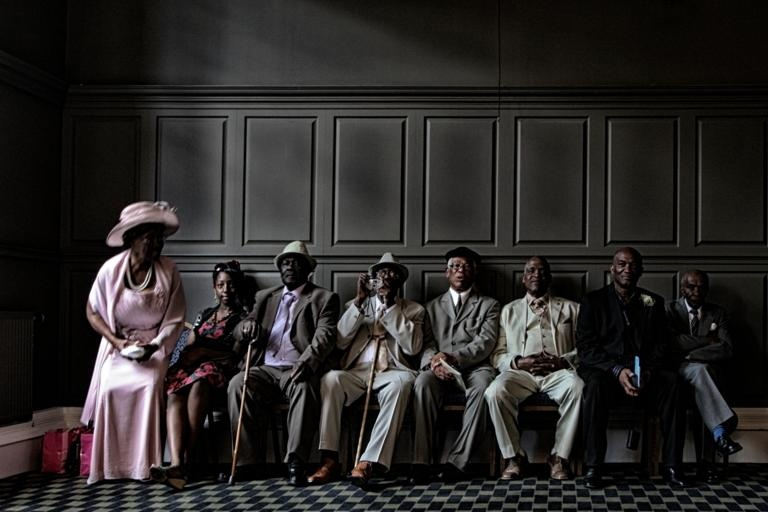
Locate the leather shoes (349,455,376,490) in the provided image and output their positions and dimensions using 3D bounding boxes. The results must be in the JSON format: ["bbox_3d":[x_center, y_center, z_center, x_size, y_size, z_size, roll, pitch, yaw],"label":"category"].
[{"bbox_3d":[-0.150,1.672,5.389,0.152,0.200,0.315,1,-2,26],"label":"leather shoes"}]

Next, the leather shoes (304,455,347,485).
[{"bbox_3d":[-0.450,1.660,5.461,0.312,0.219,0.112,3,-2,-36],"label":"leather shoes"}]

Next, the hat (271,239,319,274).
[{"bbox_3d":[-0.738,-0.030,6.116,0.344,0.156,0.423,-8,-20,31],"label":"hat"}]

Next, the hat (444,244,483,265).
[{"bbox_3d":[0.691,-0.015,6.037,0.204,0.074,0.186,16,-6,1],"label":"hat"}]

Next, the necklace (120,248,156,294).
[{"bbox_3d":[-2.006,0.126,5.658,0.240,0.320,0.079,1,-14,-12],"label":"necklace"}]

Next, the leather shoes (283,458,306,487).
[{"bbox_3d":[-0.678,1.659,5.275,0.100,0.112,0.266,1,-3,1],"label":"leather shoes"}]

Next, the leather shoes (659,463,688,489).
[{"bbox_3d":[2.219,1.678,5.340,0.210,0.150,0.167,0,-2,38],"label":"leather shoes"}]

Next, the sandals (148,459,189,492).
[{"bbox_3d":[-1.631,1.672,5.287,0.140,0.129,0.331,-34,-55,13],"label":"sandals"}]

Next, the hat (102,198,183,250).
[{"bbox_3d":[-2.029,-0.297,5.938,0.876,0.287,0.875,-3,7,-29],"label":"hat"}]

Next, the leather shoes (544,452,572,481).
[{"bbox_3d":[1.378,1.651,5.477,0.184,0.187,0.139,1,-2,16],"label":"leather shoes"}]

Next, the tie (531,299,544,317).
[{"bbox_3d":[1.307,0.429,5.862,0.123,0.121,0.037,-3,-11,-1],"label":"tie"}]

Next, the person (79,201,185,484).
[{"bbox_3d":[-2.008,0.655,5.608,0.754,2.235,0.503,2,-2,-20],"label":"person"}]

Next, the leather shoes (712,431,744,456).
[{"bbox_3d":[2.614,1.434,5.340,0.129,0.097,0.236,-15,-9,-12],"label":"leather shoes"}]

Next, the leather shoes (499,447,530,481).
[{"bbox_3d":[1.025,1.664,5.509,0.116,0.123,0.332,-4,-6,28],"label":"leather shoes"}]

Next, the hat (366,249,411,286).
[{"bbox_3d":[0.060,0.084,5.977,0.270,0.115,0.302,4,-39,6],"label":"hat"}]

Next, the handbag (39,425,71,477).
[{"bbox_3d":[-2.716,1.602,5.738,0.374,0.342,0.125,0,-2,28],"label":"handbag"}]
